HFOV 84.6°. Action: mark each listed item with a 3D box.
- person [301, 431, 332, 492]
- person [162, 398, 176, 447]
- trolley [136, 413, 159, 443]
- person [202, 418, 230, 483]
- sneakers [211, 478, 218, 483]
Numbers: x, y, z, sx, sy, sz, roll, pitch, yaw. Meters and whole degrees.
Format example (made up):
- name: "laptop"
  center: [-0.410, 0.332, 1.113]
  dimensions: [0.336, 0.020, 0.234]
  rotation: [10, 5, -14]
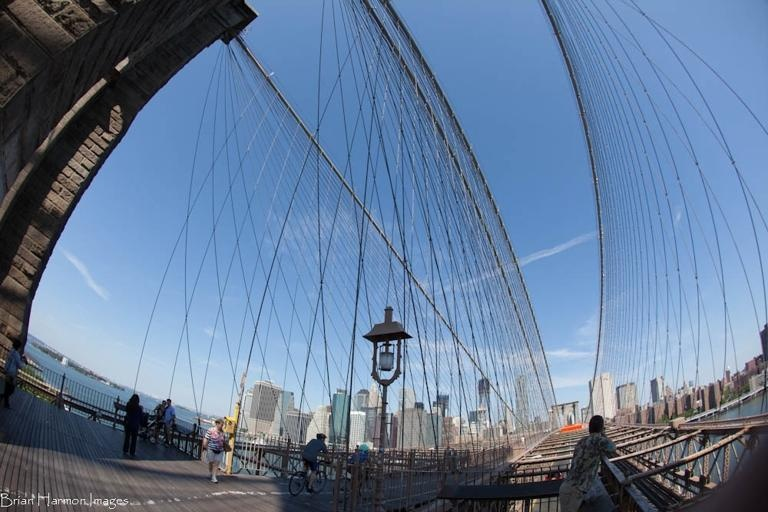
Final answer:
- name: "person"
  center: [-1.952, 5.765, 11.735]
  dimensions: [0.641, 1.528, 1.868]
  rotation: [6, -29, -6]
- name: "person"
  center: [-8.001, 6.276, 15.646]
  dimensions: [0.512, 1.383, 1.305]
  rotation: [13, -29, -19]
- name: "trolley"
  center: [-9.037, 6.821, 16.491]
  dimensions: [0.818, 0.906, 1.375]
  rotation: [2, -14, -3]
- name: "person"
  center: [-4.518, 5.279, 11.195]
  dimensions: [0.611, 1.438, 2.132]
  rotation: [13, -30, -18]
- name: "sneakers"
  center: [-4.188, 5.626, 10.469]
  dimensions: [0.207, 0.164, 0.074]
  rotation: [-11, -17, 22]
